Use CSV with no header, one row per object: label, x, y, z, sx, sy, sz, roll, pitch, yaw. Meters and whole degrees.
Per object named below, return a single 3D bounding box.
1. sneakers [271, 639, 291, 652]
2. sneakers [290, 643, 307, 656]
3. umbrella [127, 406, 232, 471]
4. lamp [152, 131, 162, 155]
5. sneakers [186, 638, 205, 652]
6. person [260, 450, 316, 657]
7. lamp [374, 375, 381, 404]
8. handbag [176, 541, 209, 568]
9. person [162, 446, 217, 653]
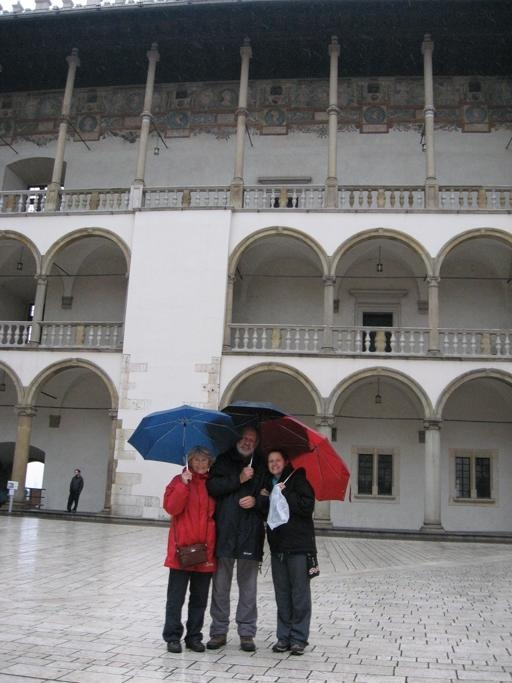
sneakers,0.158,1.850,4.140,0.123,0.052,0.043,1,-9,45
sneakers,0.246,1.851,4.109,0.094,0.055,0.116,2,-13,1
umbrella,-0.473,0.527,4.545,0.526,0.252,0.503,5,-42,-5
lamp,-2.719,-5.480,18.909,0.203,0.648,0.178,5,-14,-9
sneakers,-0.363,1.820,4.080,0.048,0.053,0.136,8,-20,-26
person,0.217,1.297,4.270,0.335,1.201,0.260,2,-14,1
lamp,2.982,1.254,16.643,0.162,0.533,0.419,0,-13,11
handbag,-0.380,1.278,4.092,0.206,0.140,0.138,-1,-25,-14
person,-0.418,1.275,4.255,0.329,1.206,0.420,0,-14,11
